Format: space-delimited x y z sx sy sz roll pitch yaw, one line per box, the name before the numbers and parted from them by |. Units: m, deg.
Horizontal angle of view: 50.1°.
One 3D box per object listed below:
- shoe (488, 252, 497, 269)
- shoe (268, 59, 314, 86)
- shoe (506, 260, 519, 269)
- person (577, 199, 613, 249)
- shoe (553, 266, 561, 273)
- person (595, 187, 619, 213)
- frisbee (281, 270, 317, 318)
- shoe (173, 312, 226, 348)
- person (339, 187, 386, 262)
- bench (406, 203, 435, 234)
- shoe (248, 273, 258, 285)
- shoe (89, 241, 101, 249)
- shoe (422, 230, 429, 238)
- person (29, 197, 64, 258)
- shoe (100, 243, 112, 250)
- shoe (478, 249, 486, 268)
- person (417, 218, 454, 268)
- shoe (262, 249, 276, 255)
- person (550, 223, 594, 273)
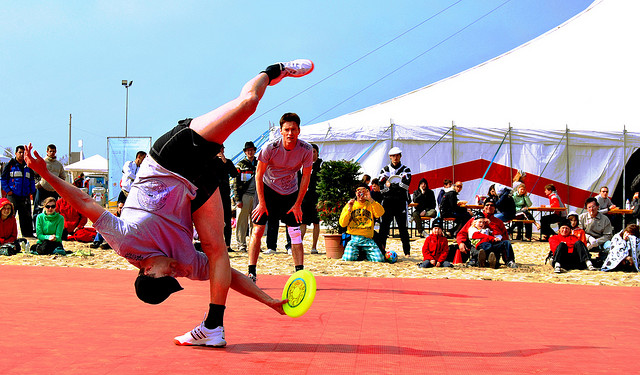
shoe | 3.649 1.541 14.468 0.114 0.309 0.133 0 -9 24
shoe | -0.381 -1.713 9.792 0.757 0.278 0.252 -2 22 43
shoe | 4.086 1.622 14.480 0.243 0.135 0.316 1 8 7
person | 6.394 0.878 16.094 0.904 1.155 0.887 6 21 40
shoe | 4.821 1.662 13.897 0.128 0.115 0.120 0 -3 -10
person | 8.306 0.364 19.870 0.713 0.765 0.843 -4 -4 -2
frisbee | -0.297 1.449 9.405 0.316 0.587 0.470 -8 12 -44
shoe | -1.566 1.994 9.297 0.790 0.432 0.274 1 -6 7
person | 0.917 0.807 15.108 0.998 1.551 0.793 1 9 4
bench | 3.090 0.817 20.382 0.675 1.022 0.687 1 -13 0
shoe | -1.153 1.533 11.640 0.094 0.170 0.257 -6 11 -18
shoe | -5.347 1.331 16.117 0.268 0.148 0.224 2 9 11
shoe | 3.234 1.436 21.083 0.179 0.194 0.489 5 4 7
person | -6.179 0.880 15.596 0.852 1.190 1.035 -2 11 -39
shoe | -5.049 1.381 16.059 0.314 0.065 0.289 0 4 -1
shoe | 3.422 1.486 14.463 0.133 0.352 0.149 2 -4 -3
person | 2.527 1.201 14.626 0.785 1.011 0.732 4 6 23
shoe | -1.228 1.524 16.189 0.271 0.062 0.434 2 8 14
person | 5.277 1.188 14.540 0.866 1.066 1.180 -7 -7 12
